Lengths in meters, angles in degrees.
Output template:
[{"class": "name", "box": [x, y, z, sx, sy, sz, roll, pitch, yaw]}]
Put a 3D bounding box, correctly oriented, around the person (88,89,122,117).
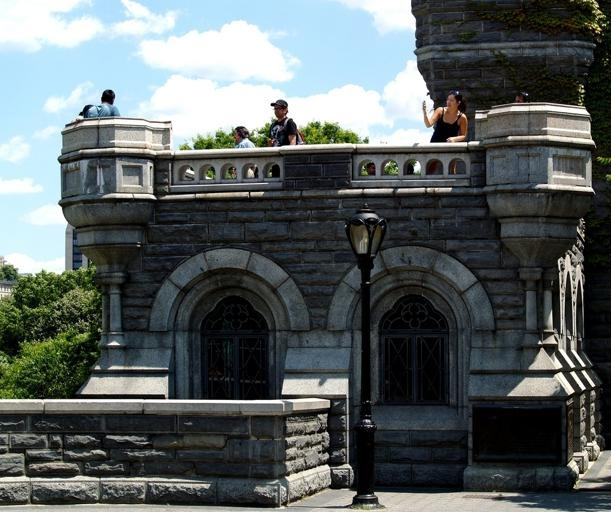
[{"class": "person", "box": [-3.973, -3.126, 43.718, 0.610, 0.675, 0.893, 0, -9, -13]}]
